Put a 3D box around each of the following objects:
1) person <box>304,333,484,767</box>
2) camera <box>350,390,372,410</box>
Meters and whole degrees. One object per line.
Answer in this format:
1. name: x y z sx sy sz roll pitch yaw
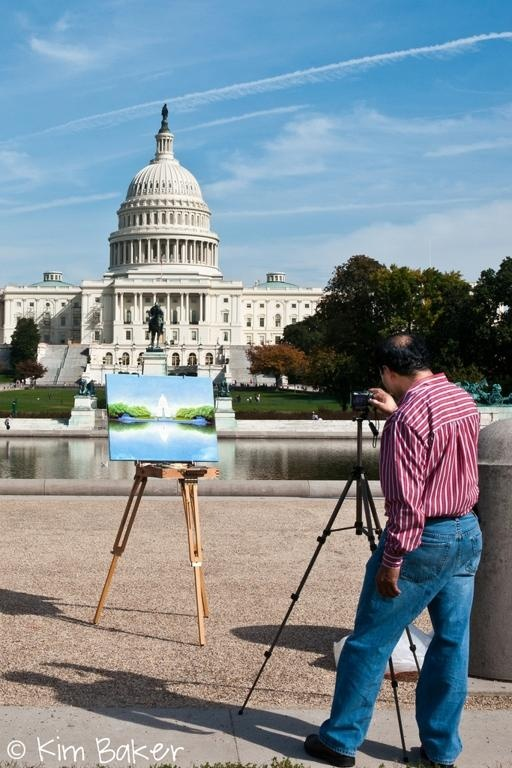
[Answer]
1. person: 0.734 0.879 3.948 0.852 1.859 0.481 1 -1 -12
2. camera: 0.560 0.094 4.578 0.114 0.109 0.085 5 -3 38
